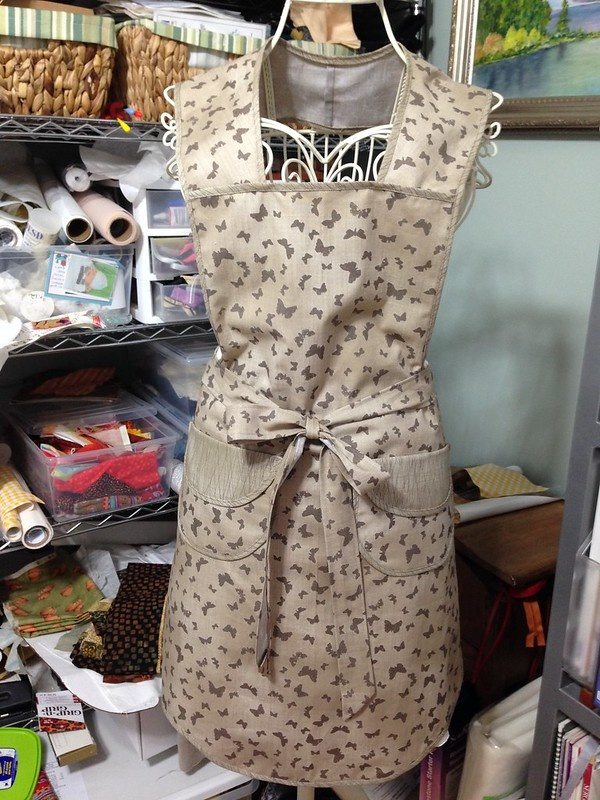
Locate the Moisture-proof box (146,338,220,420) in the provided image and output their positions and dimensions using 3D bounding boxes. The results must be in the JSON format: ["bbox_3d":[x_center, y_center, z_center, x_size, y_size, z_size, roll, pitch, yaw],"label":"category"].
[{"bbox_3d":[-0.280,-0.082,1.619,0.174,0.155,0.240,-10,28,-21],"label":"Moisture-proof box"}]

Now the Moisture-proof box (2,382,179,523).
[{"bbox_3d":[-0.466,0.078,1.439,0.262,0.127,0.323,-7,23,-25],"label":"Moisture-proof box"}]

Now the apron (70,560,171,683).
[{"bbox_3d":[-0.363,0.464,1.380,0.203,0.058,0.191,5,49,0],"label":"apron"}]

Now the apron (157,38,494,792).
[{"bbox_3d":[0.025,0.042,0.900,0.462,0.957,0.417,4,26,11],"label":"apron"}]
